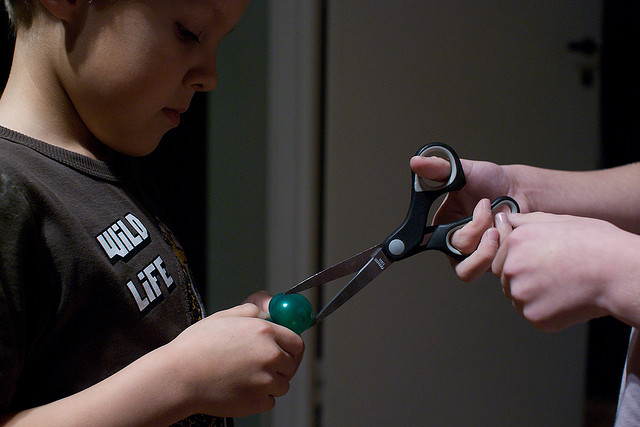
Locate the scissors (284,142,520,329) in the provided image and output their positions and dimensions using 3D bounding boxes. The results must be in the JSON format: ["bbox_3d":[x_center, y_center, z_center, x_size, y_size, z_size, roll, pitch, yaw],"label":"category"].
[{"bbox_3d":[0.147,0.057,1.216,0.427,0.264,0.074,-35,-9,0],"label":"scissors"}]
